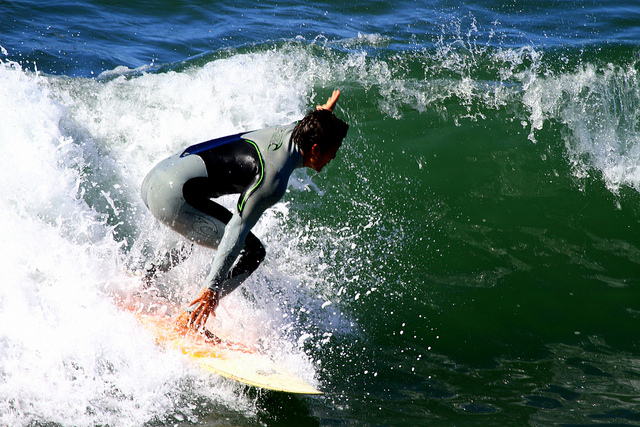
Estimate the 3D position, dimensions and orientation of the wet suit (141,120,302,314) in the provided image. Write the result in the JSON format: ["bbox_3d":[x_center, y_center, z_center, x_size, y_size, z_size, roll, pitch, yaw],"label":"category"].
[{"bbox_3d":[-1.182,0.164,9.819,1.382,1.893,1.607,-10,55,-38],"label":"wet suit"}]
